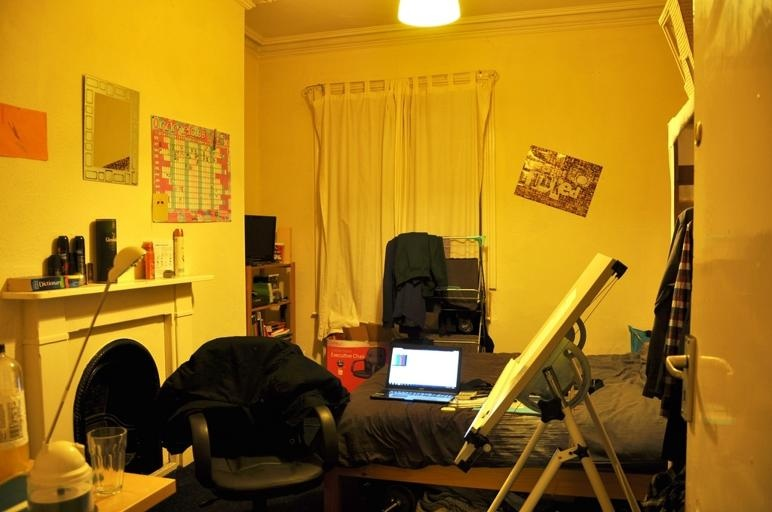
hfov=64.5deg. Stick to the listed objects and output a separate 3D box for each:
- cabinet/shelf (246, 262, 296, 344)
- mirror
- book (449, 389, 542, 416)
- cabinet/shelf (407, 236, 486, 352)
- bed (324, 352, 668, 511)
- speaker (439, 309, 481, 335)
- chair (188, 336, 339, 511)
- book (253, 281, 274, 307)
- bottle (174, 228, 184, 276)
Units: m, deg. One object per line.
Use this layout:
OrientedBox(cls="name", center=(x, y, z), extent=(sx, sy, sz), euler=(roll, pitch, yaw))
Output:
OrientedBox(cls="cabinet/shelf", center=(-1.050, 0.405, 5.498), extent=(0.230, 0.733, 0.739), euler=(0, 2, 13))
OrientedBox(cls="mirror", center=(-1.655, -0.738, 3.691), extent=(0.027, 0.521, 0.388), euler=(0, 0, 26))
OrientedBox(cls="book", center=(0.601, 0.855, 3.570), extent=(0.306, 0.082, 0.344), euler=(-3, -3, 9))
OrientedBox(cls="cabinet/shelf", center=(0.645, 0.325, 5.255), extent=(0.690, 1.186, 0.904), euler=(-1, -10, 13))
OrientedBox(cls="bed", center=(0.634, 1.043, 3.482), extent=(1.104, 0.461, 1.154), euler=(-2, -4, 15))
OrientedBox(cls="speaker", center=(0.629, 0.553, 5.194), extent=(0.353, 0.212, 0.083), euler=(0, 0, -1))
OrientedBox(cls="chair", center=(-0.600, 0.838, 3.565), extent=(1.059, 1.173, 0.766), euler=(2, -9, -12))
OrientedBox(cls="book", center=(-1.106, 0.331, 5.556), extent=(0.227, 0.226, 0.165), euler=(4, -10, -35))
OrientedBox(cls="bottle", center=(-1.368, -0.026, 4.065), extent=(0.080, 0.265, 0.063), euler=(0, 0, -43))
